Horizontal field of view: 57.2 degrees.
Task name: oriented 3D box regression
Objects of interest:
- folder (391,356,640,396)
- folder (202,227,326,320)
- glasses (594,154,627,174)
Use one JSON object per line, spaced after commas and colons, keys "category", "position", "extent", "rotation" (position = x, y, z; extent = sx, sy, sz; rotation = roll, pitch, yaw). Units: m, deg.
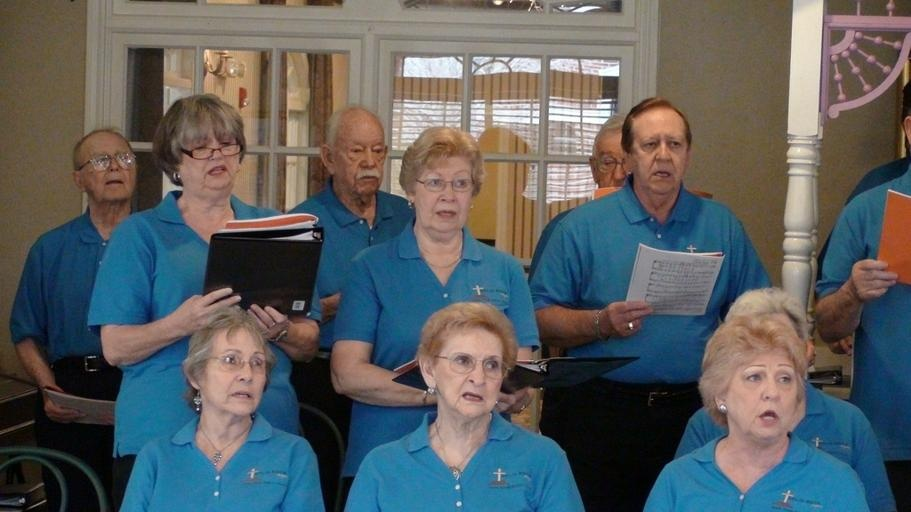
{"category": "folder", "position": [0.259, 0.559, 3.929], "extent": [1.183, 0.104, 0.962], "rotation": [-1, -8, -17]}
{"category": "folder", "position": [-0.888, 0.080, 3.883], "extent": [0.531, 0.429, 0.129], "rotation": [-2, 8, -16]}
{"category": "glasses", "position": [0.992, -0.597, 5.383], "extent": [0.154, 0.071, 0.194], "rotation": [-1, -8, 4]}
